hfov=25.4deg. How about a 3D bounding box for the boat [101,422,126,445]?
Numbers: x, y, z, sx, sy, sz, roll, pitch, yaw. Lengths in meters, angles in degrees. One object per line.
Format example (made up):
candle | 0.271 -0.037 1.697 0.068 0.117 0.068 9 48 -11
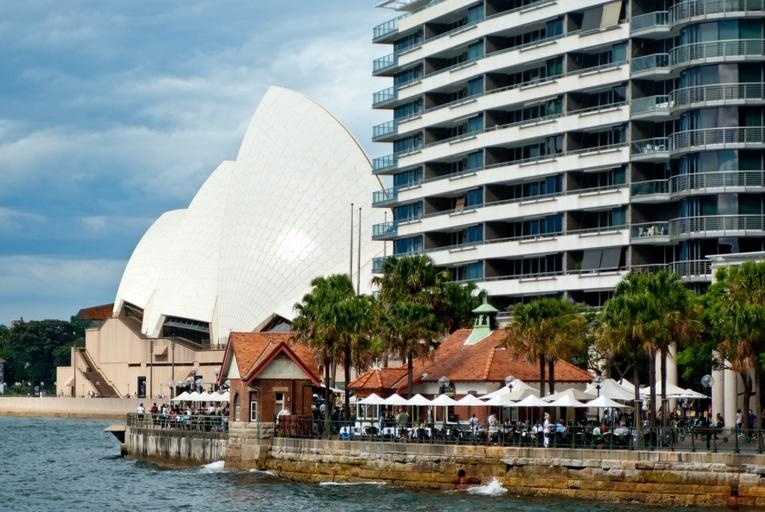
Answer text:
boat | -28.244 18.351 175.664 1.923 1.100 4.588 -1 0 -27
